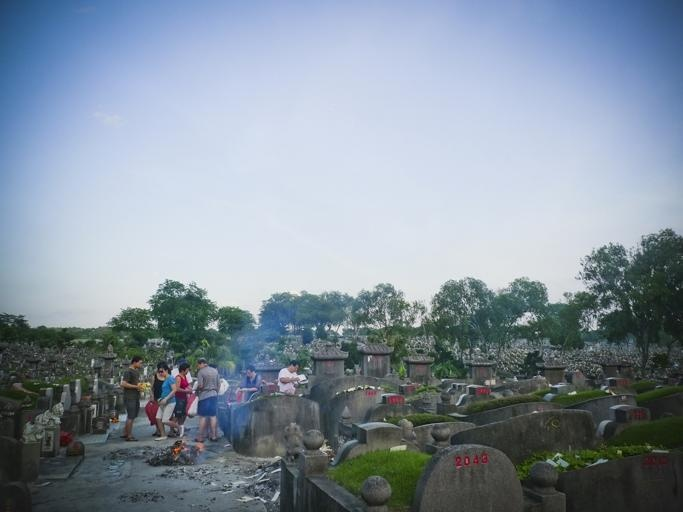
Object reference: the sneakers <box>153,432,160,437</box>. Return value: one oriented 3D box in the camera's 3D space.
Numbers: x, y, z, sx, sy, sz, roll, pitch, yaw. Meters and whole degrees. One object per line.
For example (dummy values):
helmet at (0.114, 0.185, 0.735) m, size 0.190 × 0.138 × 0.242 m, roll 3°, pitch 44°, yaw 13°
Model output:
sneakers at (-5.380, 5.184, 14.923) m, size 0.129 × 0.187 × 0.388 m, roll 6°, pitch -11°, yaw -26°

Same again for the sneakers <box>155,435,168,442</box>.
sneakers at (-5.130, 5.193, 14.598) m, size 0.317 × 0.143 × 0.128 m, roll -4°, pitch -12°, yaw 12°

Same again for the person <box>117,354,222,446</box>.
person at (-4.862, 4.178, 14.863) m, size 1.081 × 2.124 × 1.318 m, roll -5°, pitch -14°, yaw 11°

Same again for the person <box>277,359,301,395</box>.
person at (-1.636, 3.755, 15.872) m, size 0.665 × 1.044 × 1.284 m, roll -1°, pitch -14°, yaw -5°

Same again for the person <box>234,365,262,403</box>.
person at (-2.952, 4.130, 16.525) m, size 0.753 × 1.107 × 2.422 m, roll 1°, pitch -15°, yaw -13°
